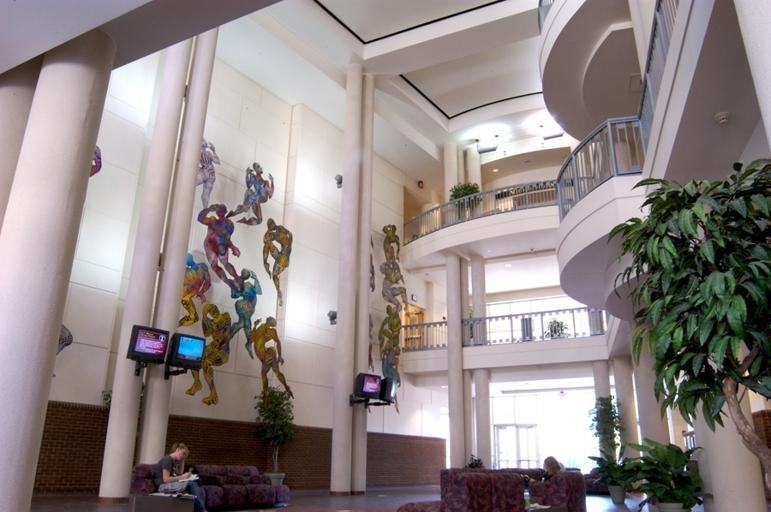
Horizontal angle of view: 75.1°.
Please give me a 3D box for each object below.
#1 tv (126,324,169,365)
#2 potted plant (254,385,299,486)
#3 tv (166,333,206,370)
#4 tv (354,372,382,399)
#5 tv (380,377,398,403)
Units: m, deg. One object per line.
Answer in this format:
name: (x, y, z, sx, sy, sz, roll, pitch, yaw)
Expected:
tv: (-4.519, 1.674, 9.787, 0.652, 0.675, 0.421, 13, 8, -11)
potted plant: (-2.966, 4.998, 14.080, 1.131, 2.630, 1.094, 0, -5, 15)
tv: (-4.120, 2.022, 10.392, 0.383, 0.687, 0.669, -14, -26, 36)
tv: (-0.476, 3.586, 13.670, 0.630, 0.566, 0.348, 11, -3, -39)
tv: (0.077, 3.840, 14.237, 0.170, 0.680, 0.750, -10, -20, 28)
